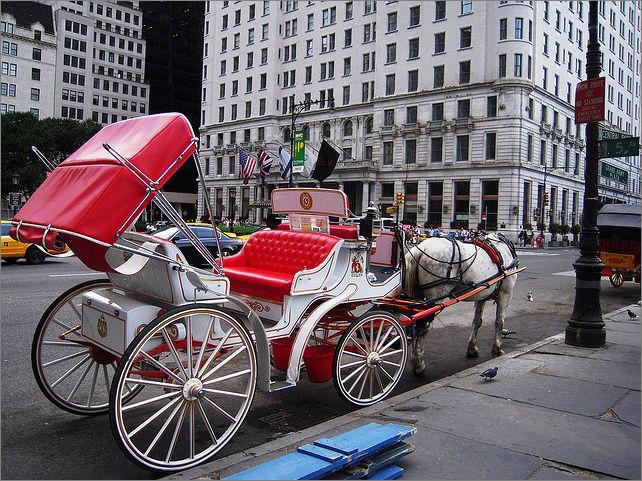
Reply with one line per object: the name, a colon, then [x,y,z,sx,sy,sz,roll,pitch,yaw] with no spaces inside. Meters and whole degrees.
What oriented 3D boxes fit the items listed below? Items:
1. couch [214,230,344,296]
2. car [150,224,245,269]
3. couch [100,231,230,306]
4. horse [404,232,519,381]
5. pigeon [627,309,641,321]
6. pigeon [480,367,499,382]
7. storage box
couch: [-0.699,0.436,9.691,1.361,1.137,1.304,0,3,-37]
car: [-4.921,0.140,22.235,4.300,1.386,1.773,-1,5,-45]
couch: [-2.046,0.360,8.058,1.544,0.795,0.788,6,11,28]
horse: [2.581,1.085,11.547,3.578,2.394,1.027,4,-3,-41]
pigeon: [7.276,1.695,14.783,0.226,0.249,0.724,5,10,26]
pigeon: [2.660,2.065,9.880,0.303,0.189,0.150,11,-5,-17]
storage box: [-2.543,1.028,7.999,1.115,0.609,0.444,9,12,40]
